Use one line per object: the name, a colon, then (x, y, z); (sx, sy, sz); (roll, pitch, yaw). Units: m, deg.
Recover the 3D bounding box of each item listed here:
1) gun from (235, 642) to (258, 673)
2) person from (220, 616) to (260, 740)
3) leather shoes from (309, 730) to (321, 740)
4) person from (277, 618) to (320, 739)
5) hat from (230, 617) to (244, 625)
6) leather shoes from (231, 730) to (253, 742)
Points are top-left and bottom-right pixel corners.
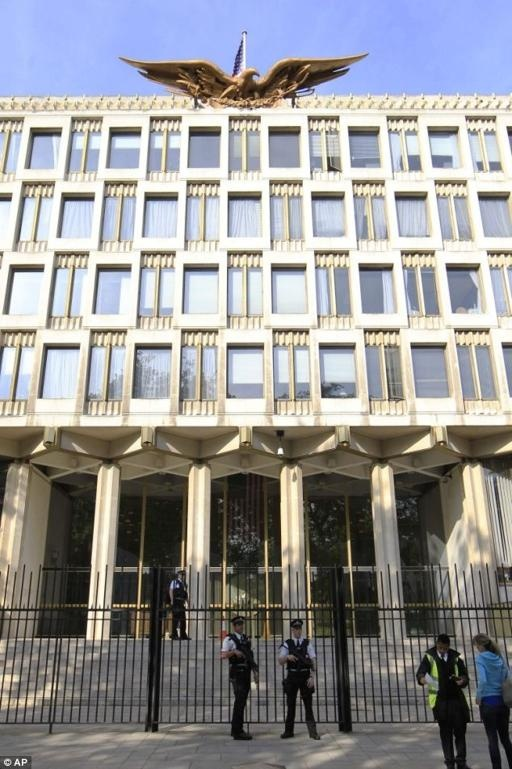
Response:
gun: (-0.107, 3.772, 7.246); (0.248, 0.337, 0.491); (-12, -25, 23)
person: (-0.229, 4.115, 7.405); (0.473, 1.561, 1.133); (-2, -22, -1)
leather shoes: (0.800, 4.801, 7.239); (0.157, 0.115, 0.356); (-4, -23, 4)
person: (0.580, 4.105, 7.341); (0.547, 1.528, 1.370); (-3, -22, 2)
hat: (-0.274, 3.370, 7.518); (0.128, 0.082, 0.148); (6, -15, -28)
leather shoes: (-0.192, 4.872, 7.311); (0.288, 0.140, 0.113); (-3, -10, 3)
